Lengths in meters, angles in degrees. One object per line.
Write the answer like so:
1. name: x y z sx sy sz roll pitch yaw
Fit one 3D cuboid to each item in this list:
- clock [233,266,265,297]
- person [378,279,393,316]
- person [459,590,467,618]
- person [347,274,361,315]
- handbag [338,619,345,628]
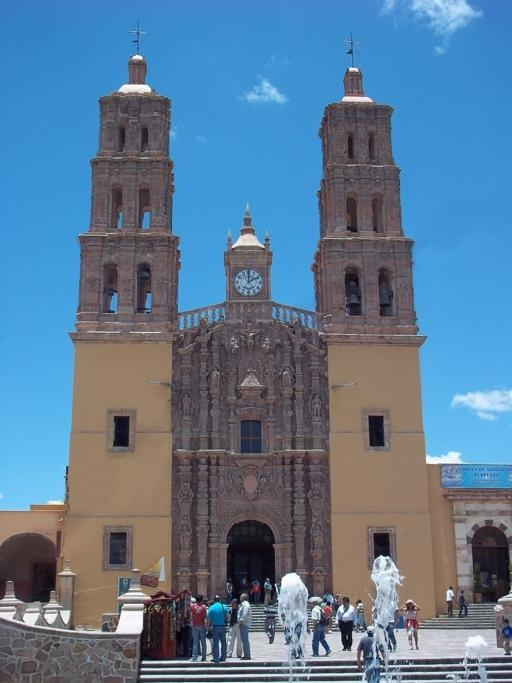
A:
1. clock: -0.220 -2.168 34.171 1.060 1.397 0.994 0 -18 0
2. person: 4.753 -1.775 35.124 0.503 1.669 0.769 -1 -18 3
3. person: 6.729 8.534 31.058 0.280 0.867 0.723 -4 -18 13
4. person: 3.620 -1.782 35.417 0.499 1.674 1.117 -2 -18 5
5. handbag: 1.956 6.415 21.744 0.161 0.151 0.200 4 -23 -4
